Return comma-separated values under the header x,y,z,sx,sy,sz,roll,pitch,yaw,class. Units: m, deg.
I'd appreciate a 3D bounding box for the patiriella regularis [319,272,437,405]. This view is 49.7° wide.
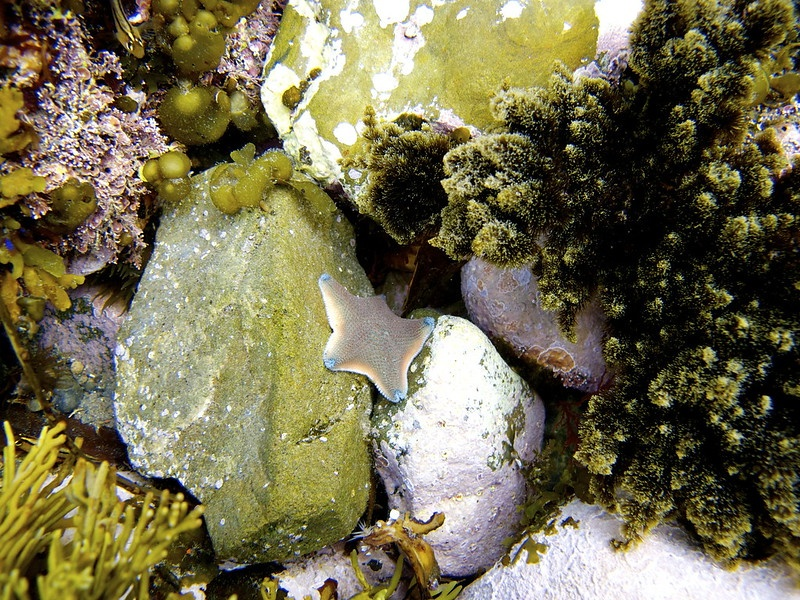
x,y,z,sx,sy,sz,roll,pitch,yaw,class
-0.194,0.224,5.220,0.745,0.297,0.535,19,55,4,patiriella regularis
